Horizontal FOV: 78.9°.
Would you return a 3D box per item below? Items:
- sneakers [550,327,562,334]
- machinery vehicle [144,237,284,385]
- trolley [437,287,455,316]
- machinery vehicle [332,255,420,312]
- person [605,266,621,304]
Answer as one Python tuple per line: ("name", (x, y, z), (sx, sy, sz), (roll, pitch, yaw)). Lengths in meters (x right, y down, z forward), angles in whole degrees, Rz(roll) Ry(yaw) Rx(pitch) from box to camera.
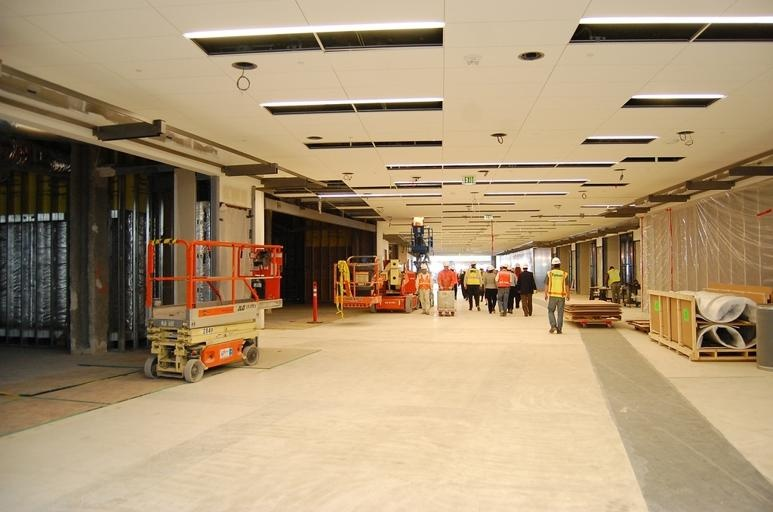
("sneakers", (4.878, 2.170, 13.737), (0.390, 0.182, 0.273), (-4, 5, -39))
("machinery vehicle", (-3.842, 1.158, 10.235), (1.336, 2.388, 3.261), (-2, -3, 26))
("trolley", (2.389, 1.923, 19.153), (0.702, 0.968, 0.908), (0, 5, 4))
("machinery vehicle", (-0.529, 1.316, 19.702), (2.526, 1.686, 3.973), (0, 0, 10))
("person", (11.397, 1.497, 23.752), (0.509, 1.686, 1.009), (2, 6, 26))
